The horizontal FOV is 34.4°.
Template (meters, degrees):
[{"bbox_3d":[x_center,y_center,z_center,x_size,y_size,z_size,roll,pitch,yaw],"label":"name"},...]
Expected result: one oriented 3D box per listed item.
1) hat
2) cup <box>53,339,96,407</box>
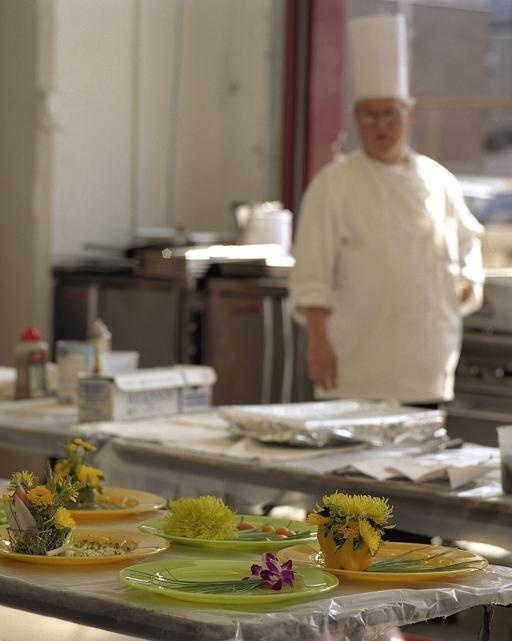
[{"bbox_3d":[0.350,-0.766,2.439,0.192,0.230,0.171,-5,8,-7],"label":"hat"},{"bbox_3d":[-0.366,0.120,1.773,0.097,0.140,0.087,-4,-13,12],"label":"cup"}]
